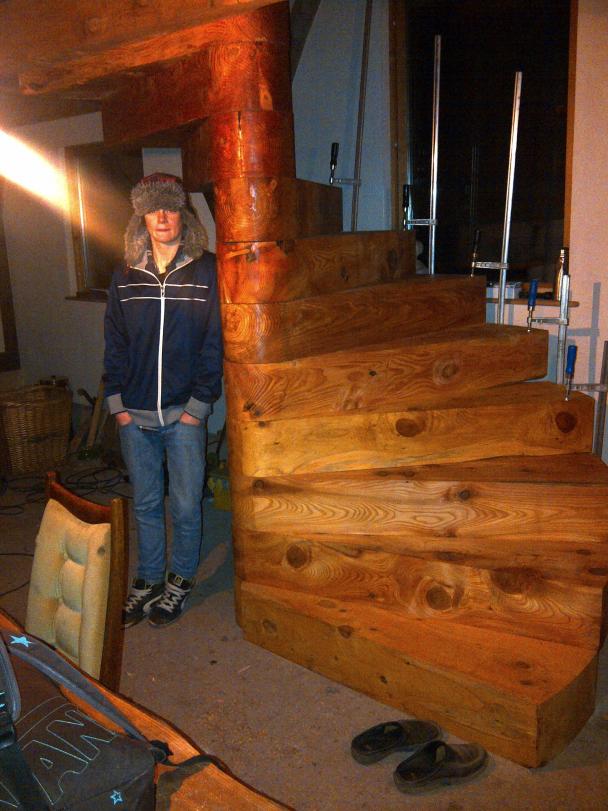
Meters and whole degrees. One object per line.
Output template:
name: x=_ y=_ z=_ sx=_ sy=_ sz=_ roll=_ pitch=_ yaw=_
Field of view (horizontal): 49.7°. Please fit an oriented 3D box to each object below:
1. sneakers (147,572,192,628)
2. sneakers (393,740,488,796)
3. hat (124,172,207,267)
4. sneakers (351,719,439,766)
sneakers: x=-0.548 y=0.806 z=2.775 sx=0.097 sy=0.109 sz=0.267 roll=14 pitch=25 yaw=4
sneakers: x=0.382 y=0.992 z=1.824 sx=0.200 sy=0.070 sz=0.105 roll=-5 pitch=1 yaw=-21
hat: x=-0.562 y=-0.742 z=2.613 sx=0.325 sy=0.355 sz=0.230 roll=-7 pitch=14 yaw=-13
sneakers: x=0.257 y=0.981 z=1.948 sx=0.208 sy=0.066 sz=0.105 roll=-7 pitch=3 yaw=-24
